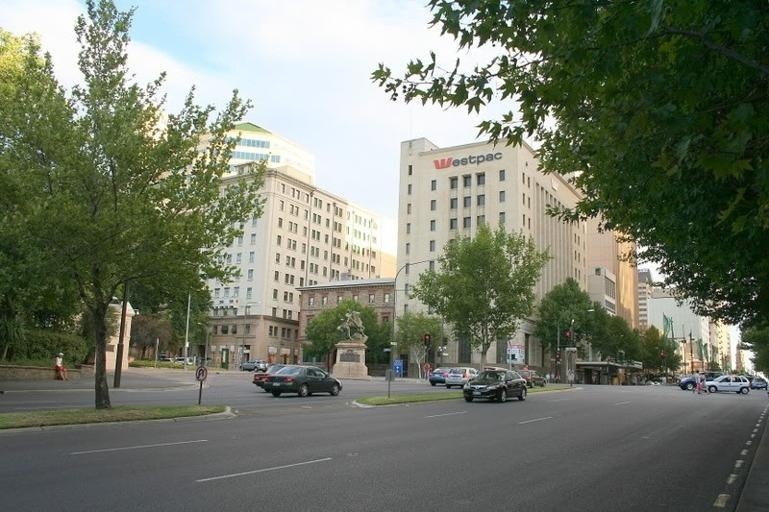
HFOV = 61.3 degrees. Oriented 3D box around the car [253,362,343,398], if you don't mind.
[{"bbox_3d":[-4.365,6.660,34.525,3.822,1.608,1.516,10,-12,-36],"label":"car"}]
